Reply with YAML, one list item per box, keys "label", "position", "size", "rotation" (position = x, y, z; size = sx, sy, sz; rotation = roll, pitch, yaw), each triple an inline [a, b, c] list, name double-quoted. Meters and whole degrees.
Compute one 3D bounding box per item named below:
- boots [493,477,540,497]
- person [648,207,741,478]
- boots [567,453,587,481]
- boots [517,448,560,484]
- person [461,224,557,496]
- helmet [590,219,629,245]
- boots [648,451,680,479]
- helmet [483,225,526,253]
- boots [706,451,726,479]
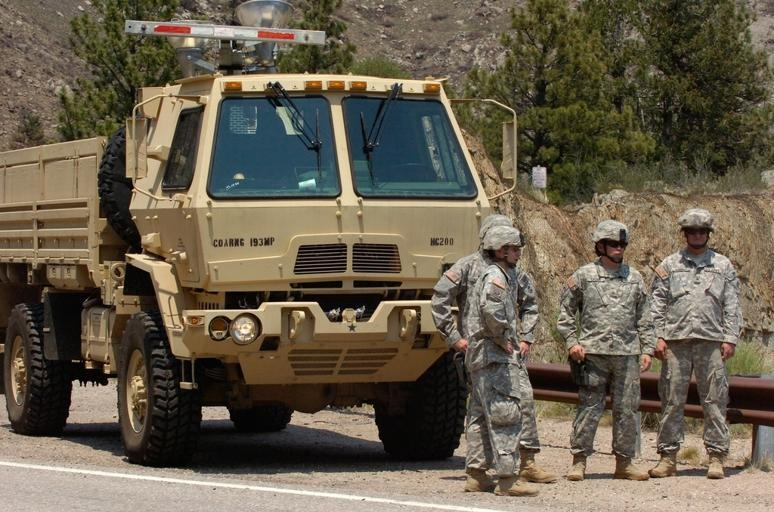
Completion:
- label: "boots"
  position: [1.498, 2.646, 11.848]
  size: [0.551, 0.258, 0.205]
  rotation: [-2, 0, 3]
- label: "person"
  position: [3.865, 1.063, 12.773]
  size: [1.068, 3.328, 0.498]
  rotation: [0, -1, 17]
- label: "boots"
  position: [2.385, 2.646, 12.752]
  size: [0.153, 0.275, 0.439]
  rotation: [2, -16, 10]
- label: "boots"
  position: [1.821, 2.563, 12.621]
  size: [0.641, 0.478, 0.235]
  rotation: [-1, -2, 16]
- label: "person"
  position: [1.316, 1.182, 11.842]
  size: [0.780, 3.099, 0.636]
  rotation: [0, -1, 3]
- label: "helmet"
  position: [2.768, -0.296, 12.571]
  size: [0.327, 0.207, 0.320]
  rotation: [2, -2, -32]
- label: "boots"
  position: [3.455, 2.608, 12.803]
  size: [0.428, 0.430, 0.201]
  rotation: [6, -7, -12]
- label: "helmet"
  position: [1.362, -0.210, 11.930]
  size: [0.334, 0.210, 0.322]
  rotation: [1, -1, -13]
- label: "boots"
  position: [4.109, 2.562, 12.700]
  size: [0.204, 0.312, 0.395]
  rotation: [0, -1, 20]
